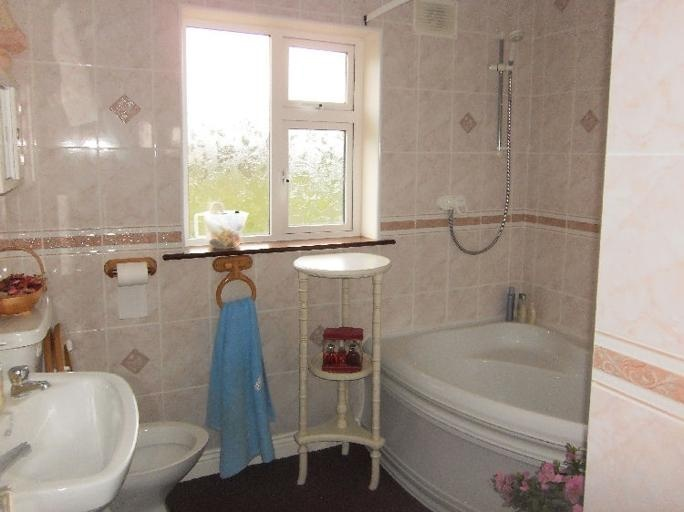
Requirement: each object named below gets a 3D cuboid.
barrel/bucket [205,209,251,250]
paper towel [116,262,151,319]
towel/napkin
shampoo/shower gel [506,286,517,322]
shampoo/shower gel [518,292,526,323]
[{"bbox_3d":[-0.578,-0.125,2.745,0.208,0.180,0.097,-4,14,-14],"label":"barrel/bucket"},{"bbox_3d":[-0.984,0.160,2.559,0.138,0.260,0.095,-3,16,-24],"label":"paper towel"},{"bbox_3d":[-0.518,0.640,2.684,0.305,0.817,0.219,-5,14,-18],"label":"towel/napkin"},{"bbox_3d":[1.054,0.296,3.420,0.063,0.208,0.096,3,14,17],"label":"shampoo/shower gel"},{"bbox_3d":[1.100,0.318,3.345,0.051,0.160,0.083,4,14,18],"label":"shampoo/shower gel"}]
